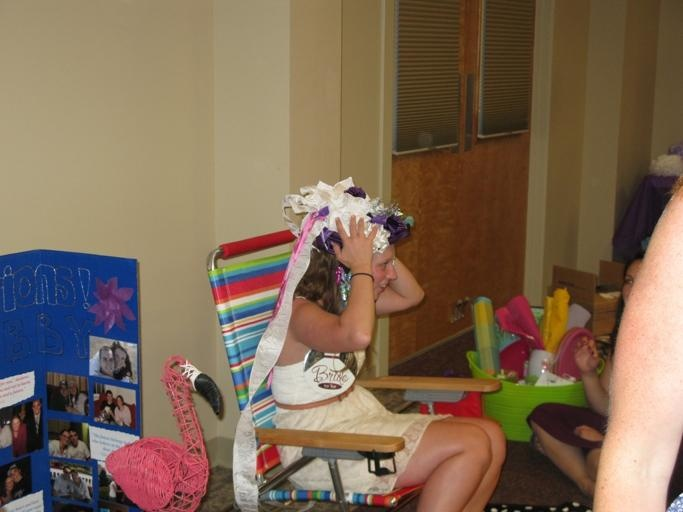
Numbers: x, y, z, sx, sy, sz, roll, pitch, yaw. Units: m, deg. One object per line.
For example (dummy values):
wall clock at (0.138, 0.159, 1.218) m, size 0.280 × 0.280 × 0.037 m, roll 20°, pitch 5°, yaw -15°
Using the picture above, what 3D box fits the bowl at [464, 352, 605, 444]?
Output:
bowl at (0.828, 0.629, 3.430) m, size 0.438 × 0.242 × 0.374 m, roll 0°, pitch -4°, yaw -8°

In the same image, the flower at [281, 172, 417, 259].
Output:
flower at (-0.007, -0.117, 2.643) m, size 0.438 × 0.165 × 0.501 m, roll -5°, pitch 8°, yaw -2°

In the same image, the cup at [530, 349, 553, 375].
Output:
cup at (0.926, 0.495, 3.522) m, size 0.086 × 0.120 × 0.117 m, roll 3°, pitch -27°, yaw 12°

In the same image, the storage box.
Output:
storage box at (1.343, 0.237, 4.080) m, size 0.214 × 0.355 × 0.433 m, roll -1°, pitch 5°, yaw -25°
